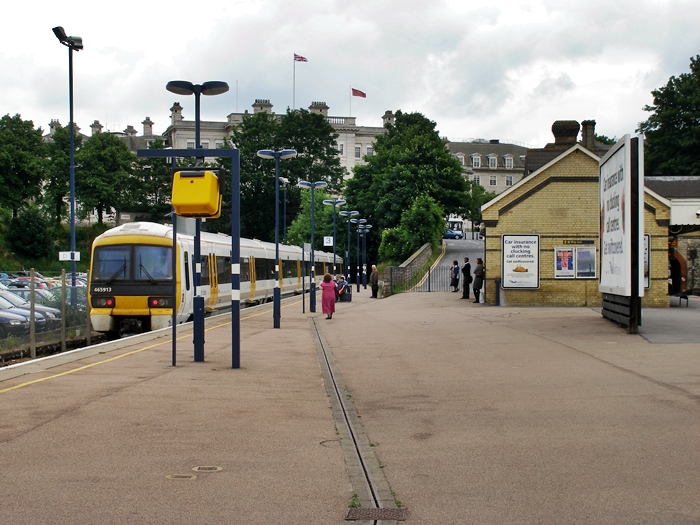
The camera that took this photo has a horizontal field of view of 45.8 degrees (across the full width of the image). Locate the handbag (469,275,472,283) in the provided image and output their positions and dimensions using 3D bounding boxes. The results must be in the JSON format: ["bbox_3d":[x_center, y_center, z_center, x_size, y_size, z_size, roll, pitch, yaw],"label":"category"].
[{"bbox_3d":[5.536,0.774,37.689,0.088,0.332,0.311,4,-6,-20],"label":"handbag"}]

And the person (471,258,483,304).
[{"bbox_3d":[5.333,0.768,34.364,0.464,1.650,2.112,1,0,8],"label":"person"}]

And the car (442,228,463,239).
[{"bbox_3d":[11.447,-3.103,92.301,2.431,0.893,1.146,-5,7,-23],"label":"car"}]

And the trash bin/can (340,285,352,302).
[{"bbox_3d":[-0.171,1.574,40.891,0.669,1.148,0.577,0,2,-1],"label":"trash bin/can"}]
